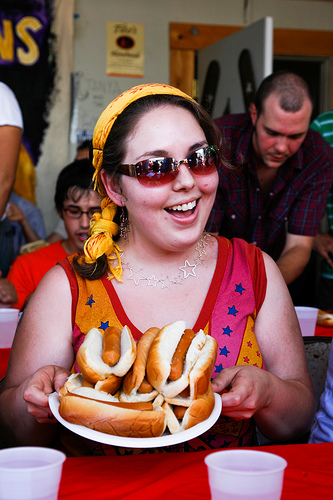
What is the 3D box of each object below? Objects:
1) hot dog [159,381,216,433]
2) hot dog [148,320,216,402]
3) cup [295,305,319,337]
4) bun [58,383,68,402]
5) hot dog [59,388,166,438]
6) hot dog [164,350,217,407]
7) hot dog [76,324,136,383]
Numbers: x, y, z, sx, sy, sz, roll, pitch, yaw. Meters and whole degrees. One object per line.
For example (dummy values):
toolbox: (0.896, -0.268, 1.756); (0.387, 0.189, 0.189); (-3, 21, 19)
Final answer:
hot dog: (0.037, 0.257, 0.738); (0.111, 0.040, 0.084); (-9, 24, -24)
hot dog: (0.022, 0.198, 0.804); (0.075, 0.043, 0.140); (9, 24, 1)
cup: (0.571, 0.280, 1.737); (0.114, 0.116, 0.114); (-1, -1, 0)
bun: (-0.176, 0.241, 0.745); (0.010, 0.025, 0.020); (6, -13, -9)
hot dog: (-0.079, 0.254, 0.680); (0.143, 0.048, 0.074); (11, -28, 6)
hot dog: (0.043, 0.211, 0.748); (0.022, 0.092, 0.053); (26, -18, 15)
hot dog: (-0.107, 0.180, 0.808); (0.067, 0.044, 0.128); (7, 16, -8)
